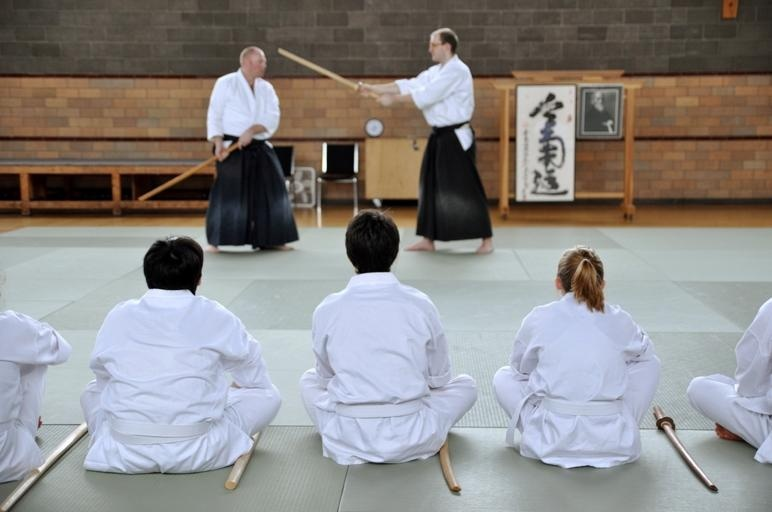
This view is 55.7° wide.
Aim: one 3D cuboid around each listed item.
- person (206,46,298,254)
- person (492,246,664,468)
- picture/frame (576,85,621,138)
[{"bbox_3d":[-1.350,-0.984,6.909,0.855,1.878,0.301,-7,18,-12],"label":"person"},{"bbox_3d":[0.913,0.479,3.472,0.804,0.985,0.415,0,18,10],"label":"person"},{"bbox_3d":[2.674,-1.854,9.211,0.581,0.597,0.068,-2,11,-3],"label":"picture/frame"}]
